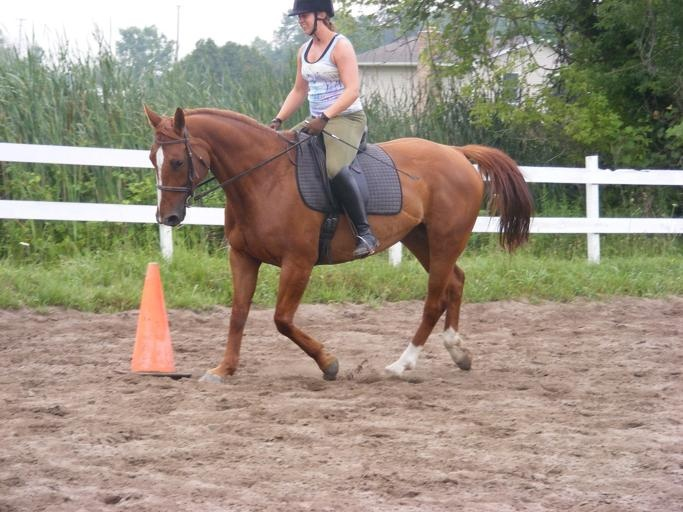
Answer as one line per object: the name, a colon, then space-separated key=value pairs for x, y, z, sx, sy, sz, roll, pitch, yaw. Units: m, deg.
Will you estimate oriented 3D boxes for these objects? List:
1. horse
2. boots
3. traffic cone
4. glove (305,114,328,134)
horse: x=0.171 y=-0.100 z=11.220 sx=4.836 sy=3.122 sz=1.205 roll=-2 pitch=7 yaw=-25
boots: x=0.145 y=-0.476 z=10.495 sx=0.524 sy=0.987 sz=0.221 roll=1 pitch=4 yaw=-3
traffic cone: x=-2.073 y=0.707 z=10.639 sx=0.595 sy=1.333 sz=0.610 roll=0 pitch=1 yaw=-25
glove: x=-0.262 y=-1.442 z=10.508 sx=0.227 sy=0.093 sz=0.173 roll=-23 pitch=-1 yaw=40
